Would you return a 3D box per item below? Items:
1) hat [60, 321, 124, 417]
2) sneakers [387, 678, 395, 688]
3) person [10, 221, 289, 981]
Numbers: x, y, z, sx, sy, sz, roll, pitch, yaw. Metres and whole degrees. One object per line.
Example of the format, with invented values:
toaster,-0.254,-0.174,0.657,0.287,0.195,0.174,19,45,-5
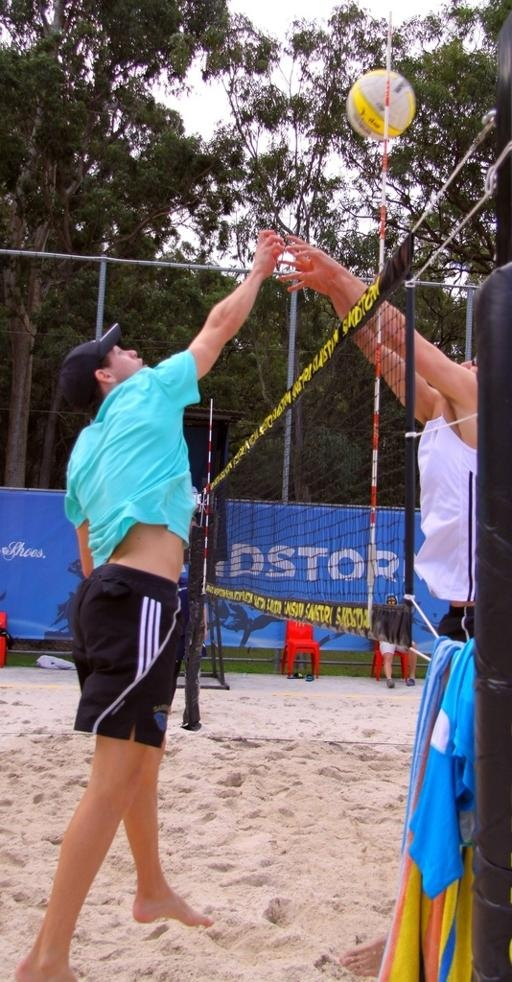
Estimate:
hat,-0.411,-0.302,2.051,0.112,0.220,0.131,14,6,-21
sneakers,1.199,1.733,7.297,0.049,0.074,0.163,-4,-23,3
person,-0.256,0.219,1.864,0.501,1.713,0.539,2,-3,-1
